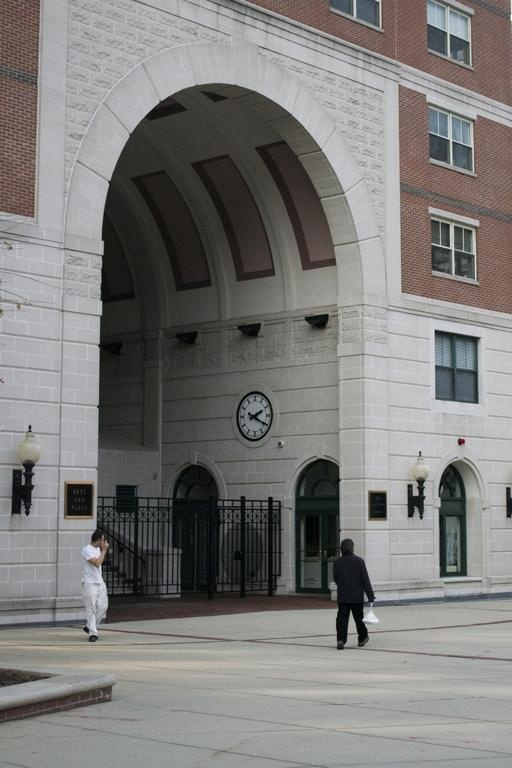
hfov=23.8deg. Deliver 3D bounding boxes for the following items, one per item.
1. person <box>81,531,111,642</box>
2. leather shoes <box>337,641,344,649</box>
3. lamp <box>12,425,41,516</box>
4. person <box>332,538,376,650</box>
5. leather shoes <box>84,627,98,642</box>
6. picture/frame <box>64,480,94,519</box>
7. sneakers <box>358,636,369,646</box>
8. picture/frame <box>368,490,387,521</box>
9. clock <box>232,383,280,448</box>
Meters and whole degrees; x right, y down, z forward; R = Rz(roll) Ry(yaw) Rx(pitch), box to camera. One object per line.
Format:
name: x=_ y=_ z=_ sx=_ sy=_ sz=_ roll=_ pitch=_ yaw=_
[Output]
person: x=-2.289 y=2.861 z=17.263 sx=0.346 sy=1.543 sz=1.054 roll=0 pitch=-9 yaw=-8
leather shoes: x=1.110 y=3.472 z=16.077 sx=0.088 sy=0.112 sz=0.181 roll=-2 pitch=-9 yaw=6
lamp: x=-3.538 y=1.342 z=18.970 sx=0.374 sy=1.428 sz=0.473 roll=-5 pitch=-9 yaw=24
person: x=1.325 y=2.863 z=16.573 sx=0.512 sy=1.454 sz=1.495 roll=-1 pitch=-9 yaw=4
leather shoes: x=-2.304 y=3.527 z=16.961 sx=0.142 sy=0.182 sz=0.437 roll=1 pitch=9 yaw=-10
picture/frame: x=-2.906 y=1.908 z=19.835 sx=0.041 sy=0.602 sz=0.570 roll=-11 pitch=-14 yaw=36
sneakers: x=1.474 y=3.514 z=16.650 sx=0.074 sy=0.092 sz=0.232 roll=5 pitch=26 yaw=22
picture/frame: x=2.582 y=2.636 z=26.067 sx=0.065 sy=0.662 sz=0.586 roll=-9 pitch=-12 yaw=44
clock: x=-0.005 y=0.816 z=29.708 sx=0.158 sy=1.505 sz=1.464 roll=7 pitch=-11 yaw=-42
